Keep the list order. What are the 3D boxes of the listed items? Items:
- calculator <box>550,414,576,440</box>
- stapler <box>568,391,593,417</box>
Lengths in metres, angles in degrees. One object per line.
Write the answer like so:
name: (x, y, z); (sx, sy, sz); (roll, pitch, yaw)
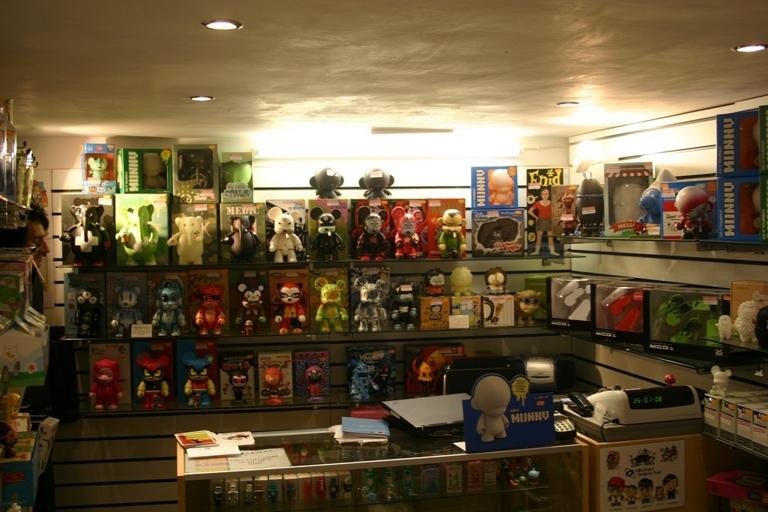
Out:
calculator: (1.103, 1.053, 3.816); (0.127, 0.050, 0.161); (0, 6, -3)
stapler: (1.301, 0.978, 4.085); (0.129, 0.092, 0.252); (-2, 4, 8)
